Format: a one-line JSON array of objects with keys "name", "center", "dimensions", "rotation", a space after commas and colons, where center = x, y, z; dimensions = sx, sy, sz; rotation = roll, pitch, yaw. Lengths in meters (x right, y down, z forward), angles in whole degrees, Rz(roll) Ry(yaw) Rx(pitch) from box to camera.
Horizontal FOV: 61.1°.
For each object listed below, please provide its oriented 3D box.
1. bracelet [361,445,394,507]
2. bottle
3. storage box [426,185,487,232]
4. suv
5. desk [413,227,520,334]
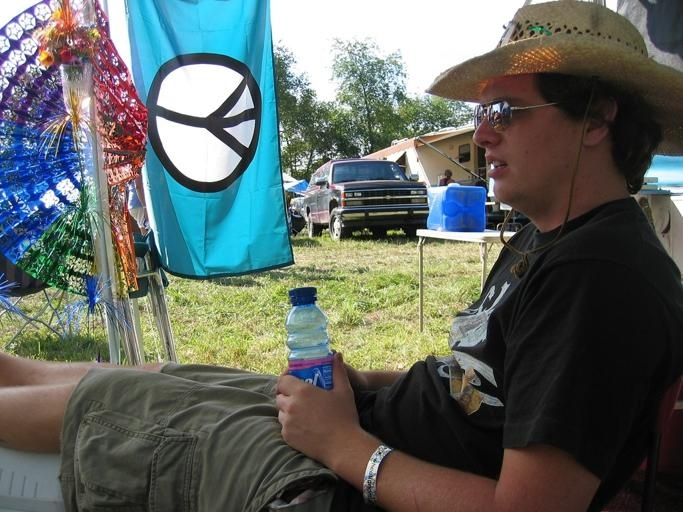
[{"name": "bracelet", "center": [0.102, 0.601, 1.600], "dimensions": [0.084, 0.146, 0.042], "rotation": [-2, 3, -40]}, {"name": "bottle", "center": [-0.111, 0.296, 1.923], "dimensions": [0.133, 0.480, 0.123], "rotation": [-3, 27, 2]}, {"name": "storage box", "center": [0.946, -0.531, 4.806], "dimensions": [0.346, 0.460, 0.619], "rotation": [-2, 6, -4]}, {"name": "suv", "center": [0.367, -1.331, 13.606], "dimensions": [2.129, 1.904, 4.278], "rotation": [-4, 2, -15]}, {"name": "desk", "center": [0.954, 0.204, 4.754], "dimensions": [0.768, 0.736, 0.631], "rotation": [2, -2, 6]}]
